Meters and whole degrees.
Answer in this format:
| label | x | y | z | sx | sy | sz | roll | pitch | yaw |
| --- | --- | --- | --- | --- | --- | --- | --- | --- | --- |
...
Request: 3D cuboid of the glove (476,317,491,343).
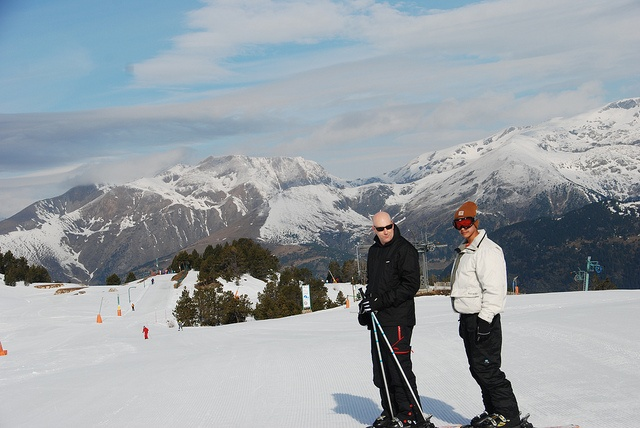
| label | x | y | z | sx | sy | sz | roll | pitch | yaw |
| --- | --- | --- | --- | --- | --- | --- | --- | --- | --- |
| glove | 3.572 | 2.544 | 12.062 | 0.425 | 0.450 | 0.336 | -10 | -23 | 12 |
